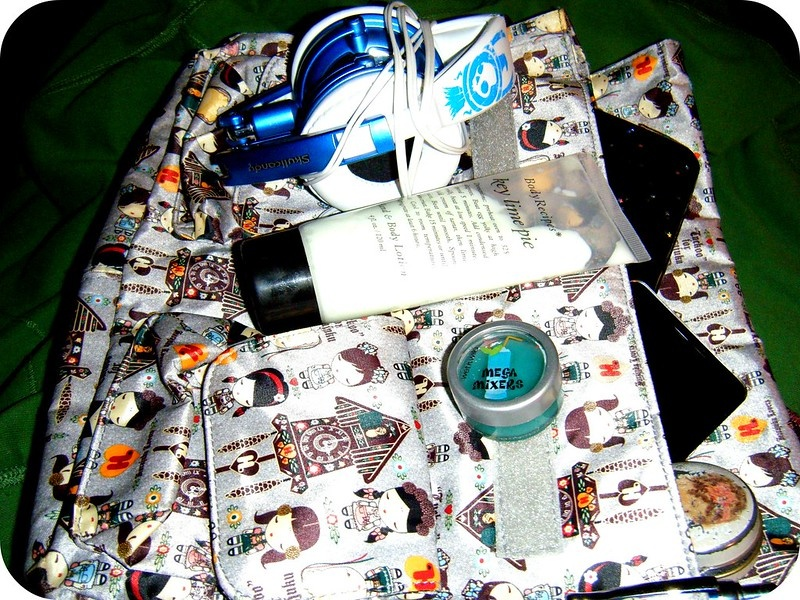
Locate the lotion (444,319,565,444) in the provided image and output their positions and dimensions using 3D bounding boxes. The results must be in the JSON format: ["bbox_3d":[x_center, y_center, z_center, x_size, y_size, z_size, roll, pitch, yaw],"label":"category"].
[{"bbox_3d":[0.076,0.059,0.509,0.079,0.090,0.048,-5,-11,1],"label":"lotion"}]

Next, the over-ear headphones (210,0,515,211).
[{"bbox_3d":[-0.028,-0.137,0.583,0.221,0.089,0.164,-16,16,12],"label":"over-ear headphones"}]
